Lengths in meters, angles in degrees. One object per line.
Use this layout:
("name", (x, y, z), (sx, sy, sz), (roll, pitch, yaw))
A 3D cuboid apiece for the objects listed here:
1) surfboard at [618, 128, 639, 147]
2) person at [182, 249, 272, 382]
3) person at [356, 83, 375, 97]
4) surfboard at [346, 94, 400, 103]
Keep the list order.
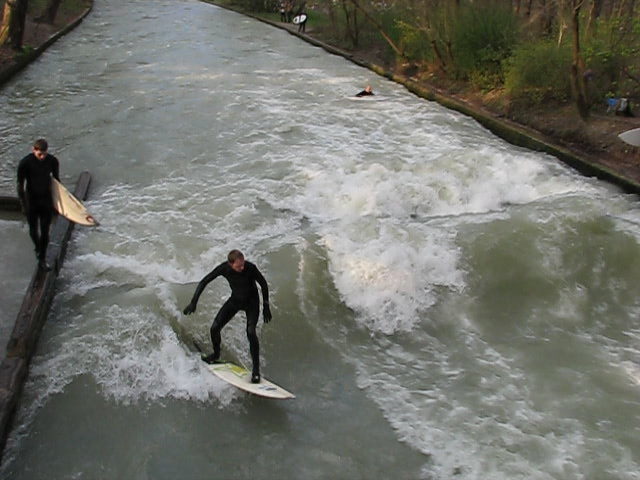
("surfboard", (7.627, -2.488, 14.681), (0.487, 0.363, 0.406), (-7, 35, 20))
("person", (-1.447, 1.175, 9.973), (1.381, 2.122, 1.121), (2, 13, 7))
("person", (1.566, -5.115, 20.191), (0.465, 0.461, 0.859), (5, 20, 15))
("surfboard", (1.818, -4.726, 19.709), (1.809, 0.102, 0.830), (-11, 38, -24))
